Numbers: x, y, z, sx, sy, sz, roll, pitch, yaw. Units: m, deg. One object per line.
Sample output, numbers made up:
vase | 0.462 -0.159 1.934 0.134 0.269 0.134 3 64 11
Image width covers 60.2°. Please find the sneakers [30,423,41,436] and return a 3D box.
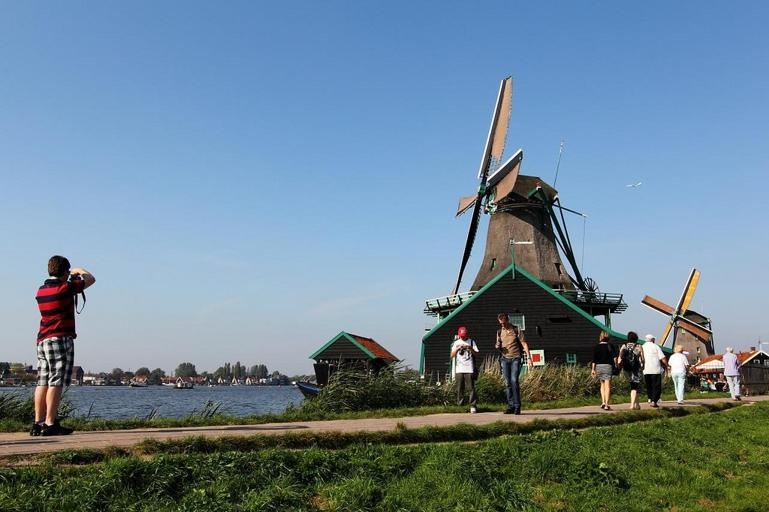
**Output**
sneakers | -5.800 2.922 11.084 0.131 0.131 0.315 1 -15 -14

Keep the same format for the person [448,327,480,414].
person | 2.009 2.888 16.753 0.607 2.140 1.233 -2 -14 5

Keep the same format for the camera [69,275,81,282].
camera | -5.362 0.384 11.535 0.155 0.148 0.044 0 -53 -17

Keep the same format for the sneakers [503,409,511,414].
sneakers | 2.928 3.761 15.893 0.152 0.061 0.064 -2 -16 13

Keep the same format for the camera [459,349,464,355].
camera | 1.925 2.437 16.728 0.106 0.183 0.108 -6 -7 0

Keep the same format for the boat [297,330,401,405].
boat | -2.059 5.447 33.504 4.143 2.729 6.635 9 0 23

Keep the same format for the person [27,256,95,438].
person | -5.571 1.516 11.305 0.788 3.000 0.513 4 -15 -19

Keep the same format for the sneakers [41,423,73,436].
sneakers | -5.474 2.914 11.106 0.492 0.195 0.173 1 -4 -15
